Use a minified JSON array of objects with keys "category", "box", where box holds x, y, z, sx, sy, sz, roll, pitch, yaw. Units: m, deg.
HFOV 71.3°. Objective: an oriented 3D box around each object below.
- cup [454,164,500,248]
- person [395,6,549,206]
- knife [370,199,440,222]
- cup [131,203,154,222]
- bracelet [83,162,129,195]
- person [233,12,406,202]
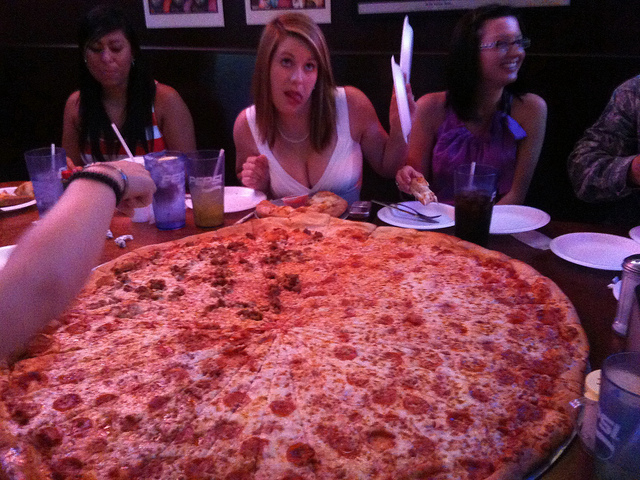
[{"category":"cup","box":[0.608,-0.149,1.750,0.171,0.322,0.180,-6,35,4]},{"category":"person","box":[1.046,-0.862,2.926,0.786,1.167,0.566,15,27,30]},{"category":"knife","box":[0.405,-0.134,2.093,0.388,0.022,0.051,17,50,40]},{"category":"cup","box":[-0.732,-0.115,1.840,0.069,0.070,0.070,-2,19,1]},{"category":"bracelet","box":[-0.624,-0.184,1.330,0.092,0.026,0.095,18,-11,-34]},{"category":"person","box":[0.003,-0.784,2.755,1.035,1.080,0.630,-2,23,-7]}]
